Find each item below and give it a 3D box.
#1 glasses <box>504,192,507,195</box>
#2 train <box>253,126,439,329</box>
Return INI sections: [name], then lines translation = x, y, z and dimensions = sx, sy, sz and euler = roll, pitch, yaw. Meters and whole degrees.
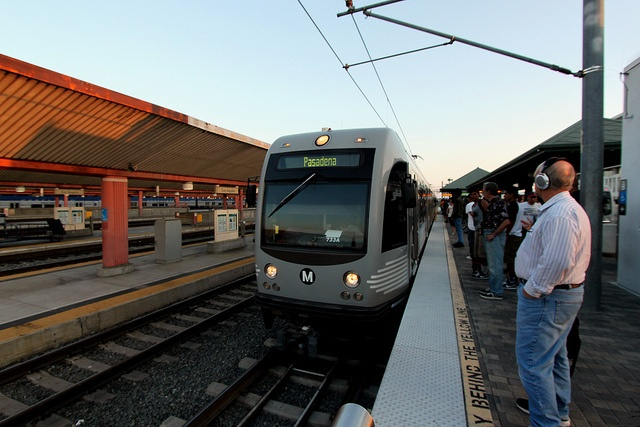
[glasses]
translation = 4.384, -0.492, 8.533
dimensions = 0.045, 0.058, 0.019
euler = 5, 3, -30
[train]
translation = 0.335, 0.238, 6.484
dimensions = 2.962, 3.706, 1.408
euler = -1, 1, -12
